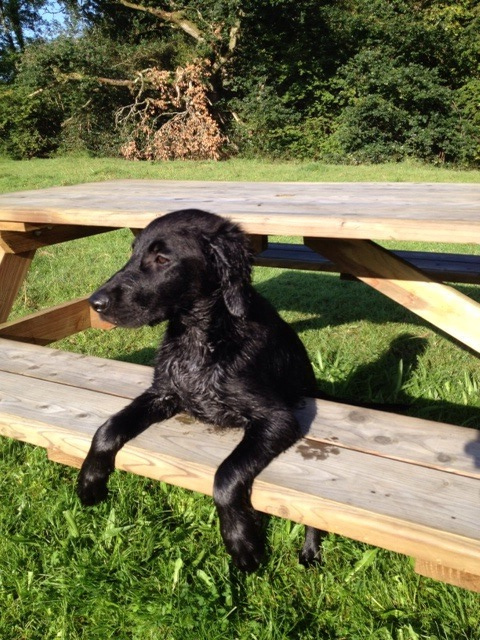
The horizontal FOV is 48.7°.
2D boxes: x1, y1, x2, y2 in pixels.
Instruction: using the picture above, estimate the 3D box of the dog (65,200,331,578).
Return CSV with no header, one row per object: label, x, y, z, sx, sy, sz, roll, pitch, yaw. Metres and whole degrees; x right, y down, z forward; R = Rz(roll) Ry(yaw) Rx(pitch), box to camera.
dog,-0.016,0.058,2.607,1.196,0.944,2.135,5,7,17
